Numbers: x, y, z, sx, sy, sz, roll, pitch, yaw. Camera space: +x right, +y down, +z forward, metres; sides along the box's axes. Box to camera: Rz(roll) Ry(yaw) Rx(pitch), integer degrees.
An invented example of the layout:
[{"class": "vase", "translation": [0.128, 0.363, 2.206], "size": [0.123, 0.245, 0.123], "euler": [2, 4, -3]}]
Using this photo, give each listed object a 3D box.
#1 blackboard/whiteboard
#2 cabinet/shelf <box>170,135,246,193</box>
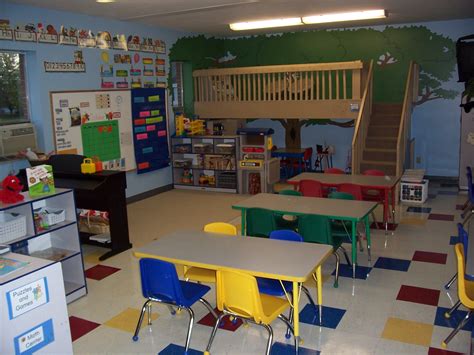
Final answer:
[{"class": "blackboard/whiteboard", "translation": [-3.170, -1.080, 8.488], "size": [0.069, 1.849, 2.167], "euler": [11, 17, 40]}, {"class": "cabinet/shelf", "translation": [-0.782, -0.397, 10.216], "size": [1.500, 1.144, 0.544], "euler": [4, 7, 25]}]
